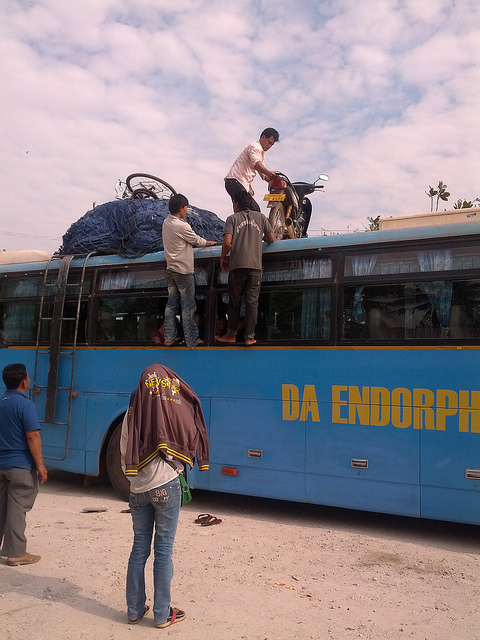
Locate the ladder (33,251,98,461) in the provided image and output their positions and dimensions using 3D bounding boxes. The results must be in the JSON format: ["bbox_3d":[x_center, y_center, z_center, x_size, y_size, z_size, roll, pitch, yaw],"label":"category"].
[{"bbox_3d":[-2.482,0.459,7.424,0.877,2.899,0.378,-2,-7,30],"label":"ladder"}]

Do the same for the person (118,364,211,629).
[{"bbox_3d":[-0.503,1.138,3.560,0.579,1.674,0.377,5,-7,-27],"label":"person"}]

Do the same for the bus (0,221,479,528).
[{"bbox_3d":[0.055,0.621,7.582,7.101,2.799,2.732,-2,-2,28],"label":"bus"}]

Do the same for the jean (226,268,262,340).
[{"bbox_3d":[0.046,-0.167,6.091,0.378,0.766,0.430,1,-6,0],"label":"jean"}]

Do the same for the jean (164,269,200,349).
[{"bbox_3d":[-0.724,-0.129,6.493,0.461,0.939,0.293,0,-7,12],"label":"jean"}]

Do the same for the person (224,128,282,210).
[{"bbox_3d":[0.055,-2.016,7.154,0.656,1.107,0.764,-3,-8,33],"label":"person"}]

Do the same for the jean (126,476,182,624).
[{"bbox_3d":[-0.584,1.473,3.504,0.387,0.932,0.262,-5,-9,45],"label":"jean"}]

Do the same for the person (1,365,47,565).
[{"bbox_3d":[-1.896,1.231,4.690,0.418,1.669,0.295,3,-7,-13],"label":"person"}]
